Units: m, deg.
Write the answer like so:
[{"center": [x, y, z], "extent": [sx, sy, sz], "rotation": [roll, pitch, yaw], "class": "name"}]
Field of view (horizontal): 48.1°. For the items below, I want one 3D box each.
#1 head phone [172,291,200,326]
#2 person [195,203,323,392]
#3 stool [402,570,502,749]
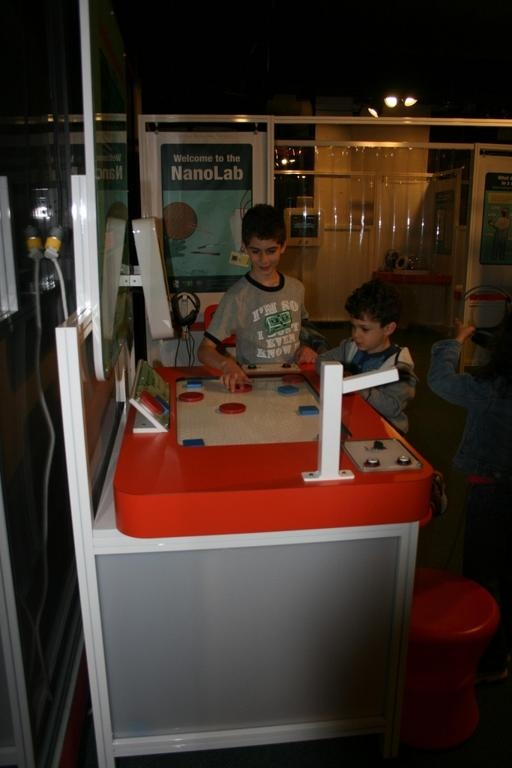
[{"center": [-0.446, -0.468, 3.589], "extent": [0.158, 0.219, 0.077], "rotation": [-2, 4, -24], "class": "head phone"}, {"center": [0.011, -0.324, 2.227], "extent": [0.466, 0.698, 0.863], "rotation": [2, 19, 6], "class": "person"}, {"center": [0.480, 0.750, 1.543], "extent": [0.322, 0.320, 0.357], "rotation": [-1, 4, -6], "class": "stool"}]
